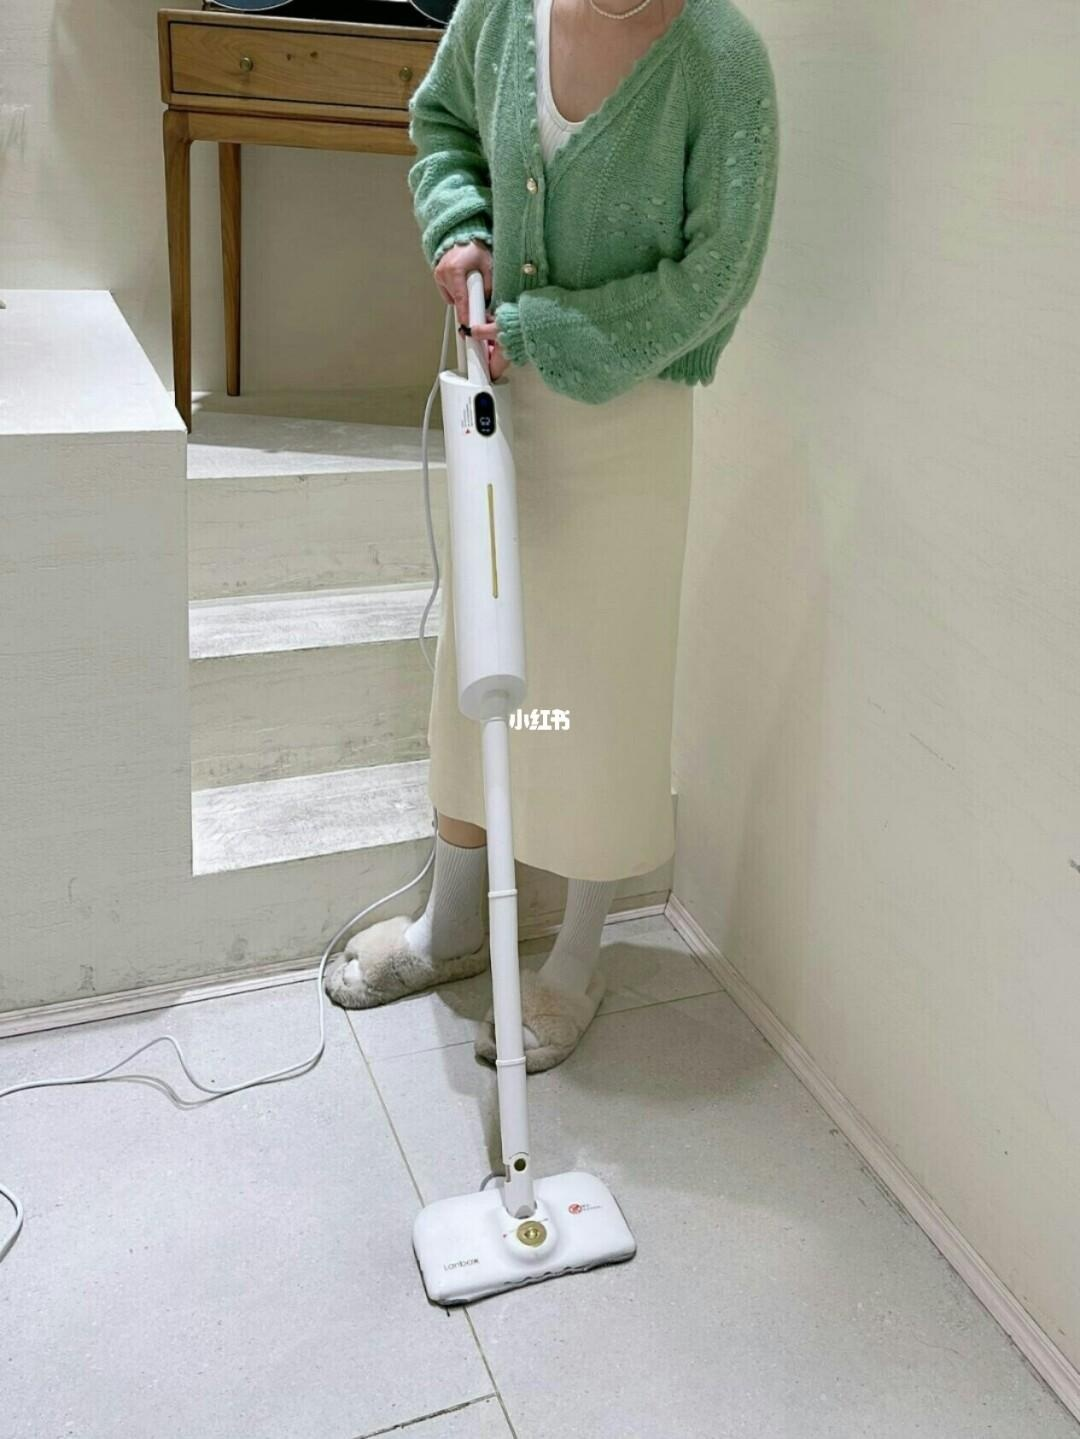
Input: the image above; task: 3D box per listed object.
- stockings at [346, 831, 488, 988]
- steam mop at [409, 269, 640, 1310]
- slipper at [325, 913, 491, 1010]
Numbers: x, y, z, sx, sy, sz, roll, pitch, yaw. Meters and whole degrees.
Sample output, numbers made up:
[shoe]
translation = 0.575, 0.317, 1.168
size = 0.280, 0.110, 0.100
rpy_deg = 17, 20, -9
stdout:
[stockings]
translation = -0.167, 0.229, 1.774
size = 0.216, 0.209, 0.109
rpy_deg = -9, 33, -20
[steam mop]
translation = -0.036, 0.088, 1.337
size = 0.210, 0.857, 0.294
rpy_deg = -4, 18, -11
[slipper]
translation = -0.169, 0.288, 1.811
size = 0.211, 0.065, 0.110
rpy_deg = -11, 27, -21
